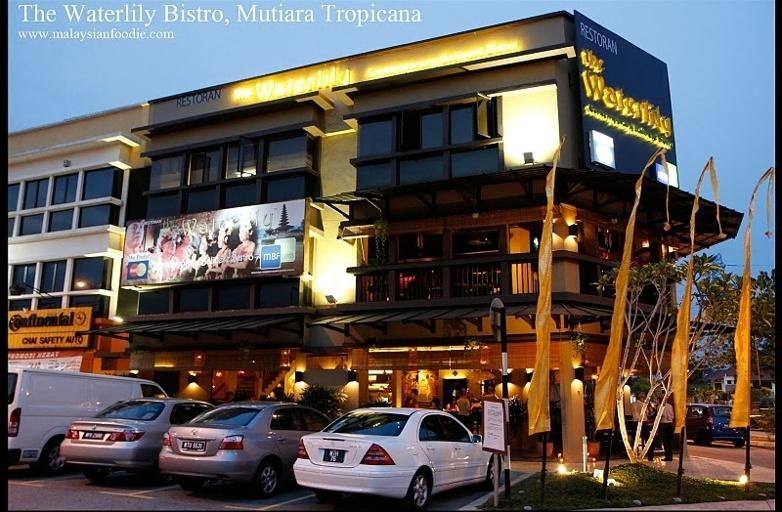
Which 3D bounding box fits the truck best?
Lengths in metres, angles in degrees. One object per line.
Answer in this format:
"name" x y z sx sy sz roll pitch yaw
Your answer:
"truck" -10.593 4.852 20.080 2.578 2.466 5.311 -8 -10 39
